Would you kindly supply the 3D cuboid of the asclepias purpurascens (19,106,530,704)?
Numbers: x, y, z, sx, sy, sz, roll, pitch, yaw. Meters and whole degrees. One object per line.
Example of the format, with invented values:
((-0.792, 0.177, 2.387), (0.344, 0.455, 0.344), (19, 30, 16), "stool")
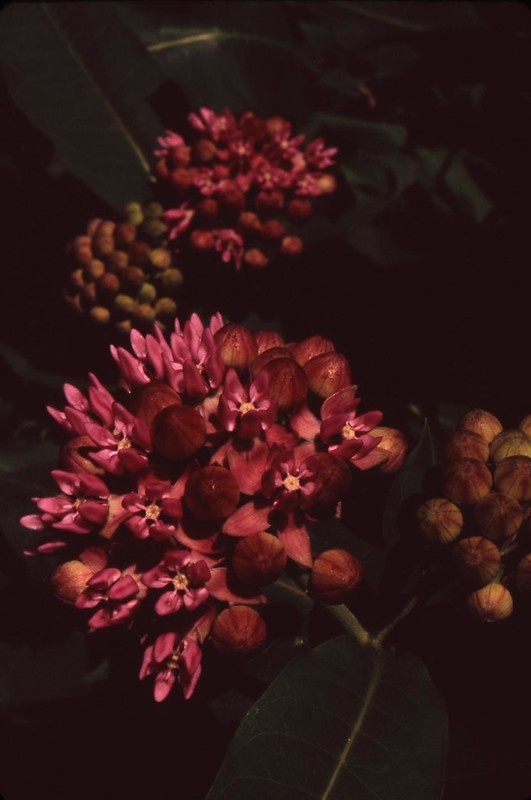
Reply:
((-0.029, 0.002, 0.697), (0.433, 0.256, 0.490), (-26, 56, -7), "asclepias purpurascens")
